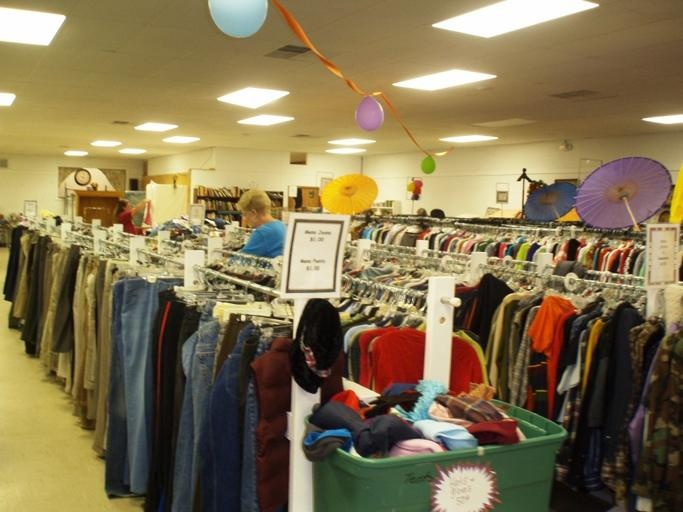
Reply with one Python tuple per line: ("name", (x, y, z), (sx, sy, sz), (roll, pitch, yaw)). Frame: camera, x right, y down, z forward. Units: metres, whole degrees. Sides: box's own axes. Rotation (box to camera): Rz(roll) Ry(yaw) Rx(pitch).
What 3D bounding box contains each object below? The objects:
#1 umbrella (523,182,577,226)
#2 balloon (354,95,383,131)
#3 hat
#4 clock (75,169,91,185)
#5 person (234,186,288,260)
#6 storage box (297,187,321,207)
("umbrella", (3.083, -0.825, 7.522), (0.744, 0.634, 0.622), (-4, -8, 42))
("balloon", (0.268, -1.374, 4.860), (0.308, 0.327, 0.296), (3, 9, 18))
("hat", (-0.087, 0.317, 1.783), (0.180, 0.319, 0.115), (1, 9, -2))
("clock", (-9.999, -3.091, 19.642), (0.803, 0.683, 0.171), (1, 3, -22))
("person", (-0.754, -0.303, 4.762), (0.502, 0.670, 0.526), (14, 26, 24))
("storage box", (-0.979, -1.959, 16.487), (0.784, 0.642, 0.873), (-3, 9, -27))
